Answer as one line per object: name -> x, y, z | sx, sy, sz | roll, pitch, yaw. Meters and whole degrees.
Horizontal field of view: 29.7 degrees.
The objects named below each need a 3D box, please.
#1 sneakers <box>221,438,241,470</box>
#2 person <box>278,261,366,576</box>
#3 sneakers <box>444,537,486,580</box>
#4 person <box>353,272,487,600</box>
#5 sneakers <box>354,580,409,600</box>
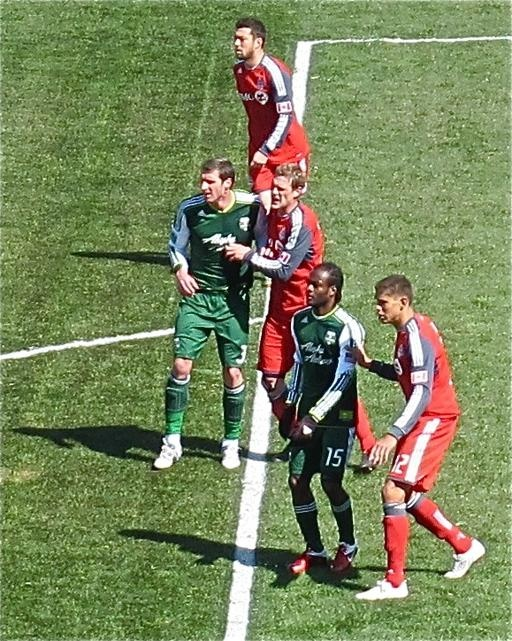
sneakers -> -0.186, 1.067, 7.705 | 0.132, 0.101, 0.249 | -2, 46, -1
person -> 0.454, 0.734, 6.405 | 0.570, 2.250, 0.595 | 6, 26, 1
sneakers -> 1.477, 1.689, 6.782 | 0.165, 0.373, 0.122 | 37, 14, -38
person -> 1.078, 0.860, 6.274 | 1.018, 2.251, 0.948 | 8, 26, 5
sneakers -> 0.845, 1.809, 6.399 | 0.433, 0.133, 0.142 | 1, 1, -4
